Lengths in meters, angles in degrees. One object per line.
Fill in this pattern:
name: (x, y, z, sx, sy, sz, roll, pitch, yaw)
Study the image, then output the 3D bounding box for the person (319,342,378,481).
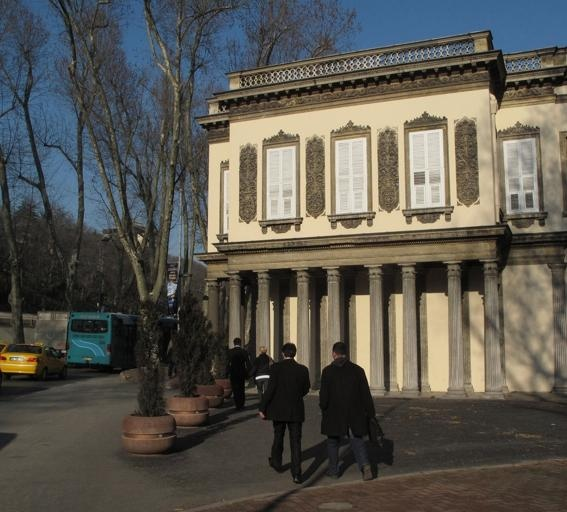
person: (1.059, 2.601, 10.792, 0.891, 2.271, 0.509, 0, -4, 3)

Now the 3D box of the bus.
bus: (-11.492, 5.493, 42.531, 2.226, 3.995, 8.363, 4, -6, 1)

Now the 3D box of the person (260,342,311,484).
person: (0.018, 2.701, 11.274, 0.838, 2.294, 0.954, -2, -4, 20)

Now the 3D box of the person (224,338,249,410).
person: (-1.425, 3.728, 20.346, 0.642, 2.246, 1.517, 0, -4, -4)

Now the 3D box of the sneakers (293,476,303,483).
sneakers: (0.235, 3.721, 10.680, 0.139, 0.140, 0.200, 0, -5, 0)
